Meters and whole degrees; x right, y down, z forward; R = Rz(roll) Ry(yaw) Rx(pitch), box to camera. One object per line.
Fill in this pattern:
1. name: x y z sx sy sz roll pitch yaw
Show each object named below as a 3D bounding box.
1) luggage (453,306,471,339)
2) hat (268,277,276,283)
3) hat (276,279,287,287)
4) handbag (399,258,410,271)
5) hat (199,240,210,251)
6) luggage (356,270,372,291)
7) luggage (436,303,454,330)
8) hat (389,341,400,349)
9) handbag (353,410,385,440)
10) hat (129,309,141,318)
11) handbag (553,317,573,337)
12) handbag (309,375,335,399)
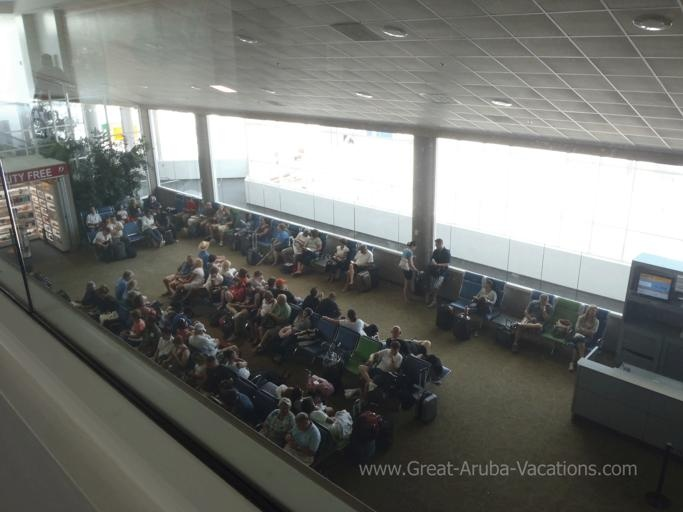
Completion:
1. luggage: 2.168 1.222 8.382 0.253 0.611 0.241 -17 39 -24
2. hat: -1.284 0.438 8.585 0.104 0.137 0.138 27 -20 -5
3. hat: -1.168 0.517 8.872 0.130 0.151 0.167 18 39 -17
4. handbag: 1.351 0.183 10.034 0.138 0.208 0.232 -13 21 -27
5. hat: -3.426 -0.250 11.543 0.278 0.281 0.082 17 -20 18
6. luggage: 0.495 0.547 10.378 0.228 0.421 0.257 27 46 36
7. luggage: 1.930 1.149 8.698 0.276 0.497 0.320 -13 23 -39
8. hat: 0.737 1.237 6.449 0.131 0.102 0.205 12 6 7
9. handbag: 0.268 1.898 5.223 0.308 0.225 0.218 10 6 -15
10. hat: -3.070 0.851 6.869 0.133 0.110 0.139 -4 1 -5
11. handbag: 3.722 1.186 7.808 0.330 0.323 0.231 -6 6 -18
12. handbag: -0.305 1.774 6.465 0.334 0.111 0.242 29 26 16
